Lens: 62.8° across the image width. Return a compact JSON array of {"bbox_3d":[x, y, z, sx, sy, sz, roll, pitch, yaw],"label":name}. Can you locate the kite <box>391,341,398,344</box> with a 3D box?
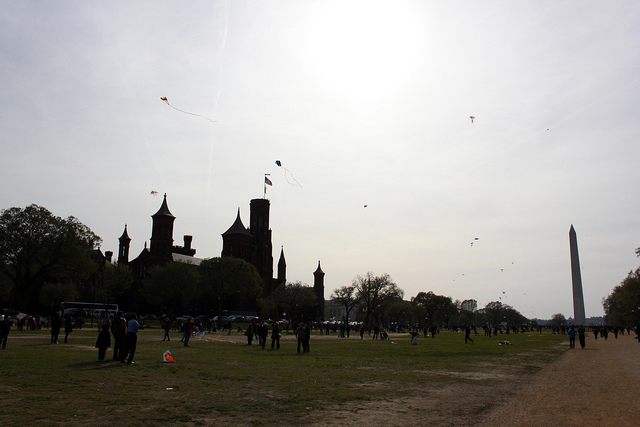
[{"bbox_3d":[7.946,13.902,56.349,0.441,0.123,0.130,4,21,20],"label":"kite"}]
